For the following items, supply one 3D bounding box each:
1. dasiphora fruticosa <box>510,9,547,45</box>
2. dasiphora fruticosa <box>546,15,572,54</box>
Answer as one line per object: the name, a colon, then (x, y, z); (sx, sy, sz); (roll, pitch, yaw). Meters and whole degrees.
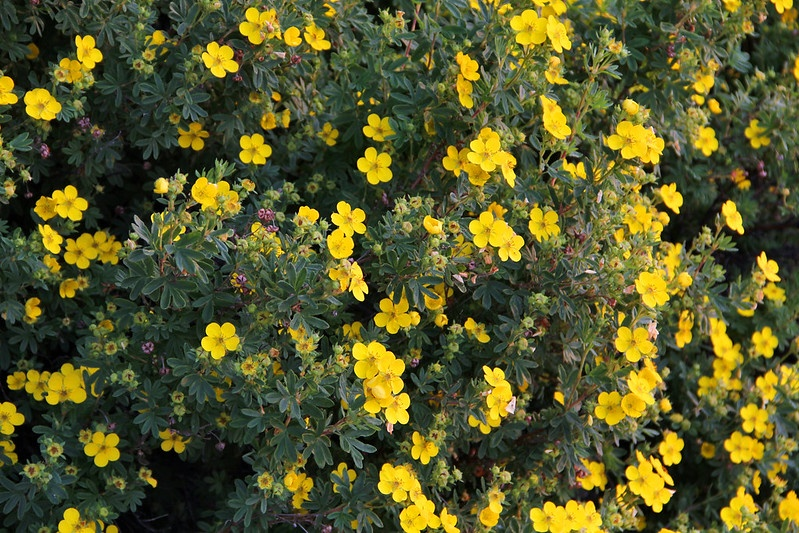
dasiphora fruticosa: (0.683, -1.245, 4.341); (0.212, 0.140, 0.100); (22, -9, 0)
dasiphora fruticosa: (0.843, -1.217, 4.345); (0.083, 0.196, 0.173); (-4, 14, 34)
